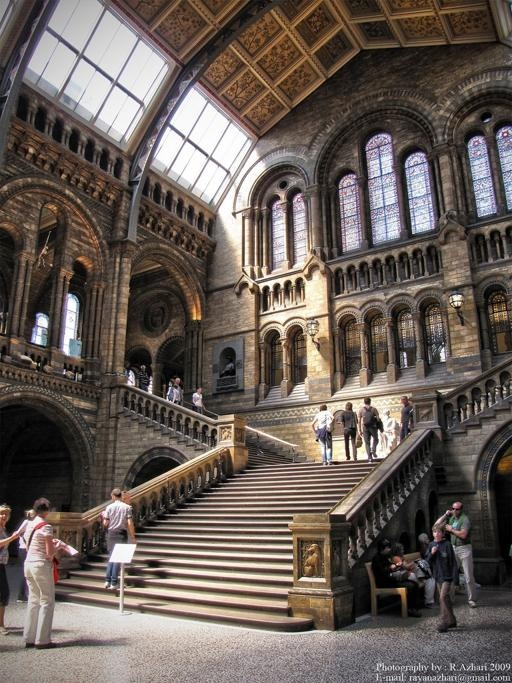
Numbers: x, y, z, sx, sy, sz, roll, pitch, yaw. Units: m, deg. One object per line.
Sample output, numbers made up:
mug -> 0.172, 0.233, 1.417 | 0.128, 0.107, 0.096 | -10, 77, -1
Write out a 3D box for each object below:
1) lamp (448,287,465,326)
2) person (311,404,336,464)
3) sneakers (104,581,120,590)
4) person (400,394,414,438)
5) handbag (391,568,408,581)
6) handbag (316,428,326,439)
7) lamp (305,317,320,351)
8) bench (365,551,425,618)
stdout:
lamp -> 6.269, -1.101, 17.517 | 0.475, 0.961, 1.405 | -7, -16, 20
person -> 1.722, 2.355, 14.262 | 0.421, 1.542, 1.039 | -3, -15, 6
sneakers -> -2.294, 3.887, 8.944 | 0.202, 0.078, 0.099 | -4, -10, 22
person -> 3.698, 1.878, 13.810 | 0.326, 1.024, 0.721 | -6, -16, 14
handbag -> 2.001, 3.268, 7.877 | 0.162, 0.193, 0.112 | -30, -25, 31
handbag -> 1.617, 2.340, 14.146 | 0.147, 0.319, 0.315 | 5, -16, -21
lamp -> 2.121, -0.319, 20.921 | 0.455, 1.323, 0.807 | -3, -16, 5
bench -> 1.954, 3.302, 7.799 | 0.651, 0.823, 0.836 | -11, -18, 31
